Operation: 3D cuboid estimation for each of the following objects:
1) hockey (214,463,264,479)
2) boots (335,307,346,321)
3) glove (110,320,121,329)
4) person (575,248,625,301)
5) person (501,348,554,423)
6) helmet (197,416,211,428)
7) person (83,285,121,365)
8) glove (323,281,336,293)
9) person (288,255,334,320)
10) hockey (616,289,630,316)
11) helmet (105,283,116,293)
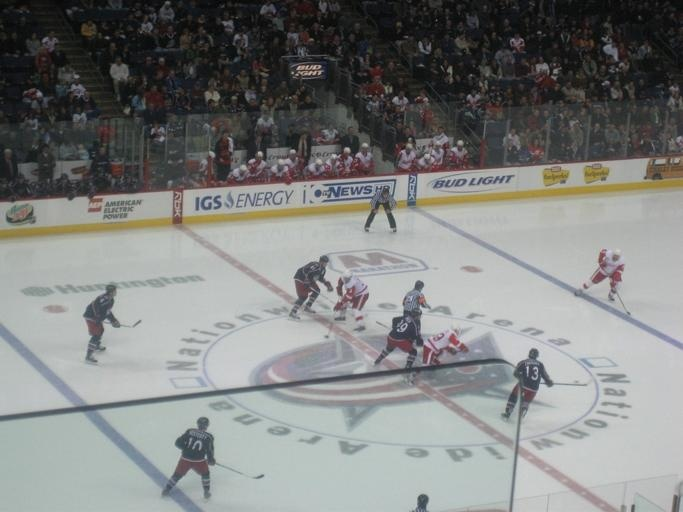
[{"bbox_3d":[-1.213,2.582,10.582,0.660,0.077,0.076,17,15,19],"label":"hockey"},{"bbox_3d":[-0.003,1.123,17.336,0.144,0.265,0.259,-7,23,-23],"label":"boots"},{"bbox_3d":[-4.014,1.182,15.532,0.186,0.089,0.136,-1,-3,42],"label":"glove"},{"bbox_3d":[5.640,0.362,18.790,0.772,1.178,0.656,0,12,16],"label":"person"},{"bbox_3d":[2.938,2.055,13.752,0.731,1.168,0.381,29,25,4],"label":"person"},{"bbox_3d":[-1.646,1.969,10.416,0.126,0.144,0.104,-4,18,-1],"label":"helmet"},{"bbox_3d":[-4.203,1.144,15.570,0.773,1.548,0.667,-4,18,-18],"label":"person"},{"bbox_3d":[-0.233,0.528,17.177,0.097,0.196,0.283,-37,58,-26],"label":"glove"},{"bbox_3d":[-0.597,0.537,17.338,0.772,1.333,0.620,0,18,-22],"label":"person"},{"bbox_3d":[5.999,0.973,18.667,0.046,0.118,0.851,-8,35,-15],"label":"hockey"},{"bbox_3d":[-4.192,0.560,15.905,0.126,0.121,0.127,11,18,27],"label":"helmet"}]
